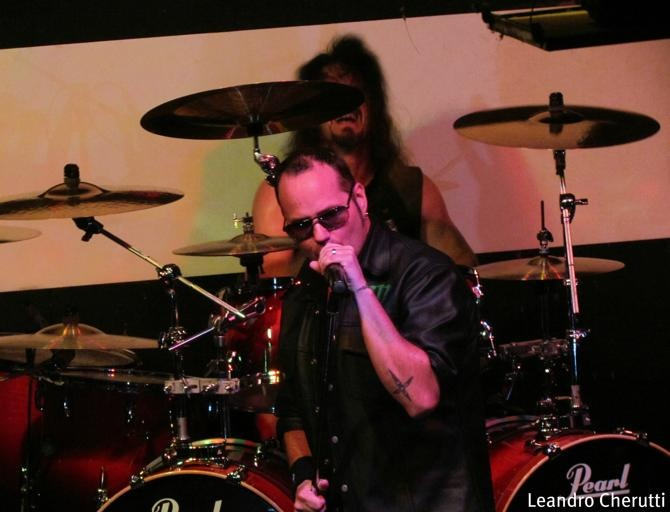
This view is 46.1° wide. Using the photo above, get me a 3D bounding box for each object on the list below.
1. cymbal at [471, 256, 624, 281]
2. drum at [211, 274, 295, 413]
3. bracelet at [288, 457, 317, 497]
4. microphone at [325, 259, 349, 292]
[{"bbox_3d":[1.204,0.067,4.474,0.366,0.070,0.355,-7,7,-29],"label":"cymbal"},{"bbox_3d":[-0.397,0.469,4.063,0.619,0.628,0.618,-2,-13,0],"label":"drum"},{"bbox_3d":[-0.142,0.921,3.338,0.158,0.170,0.177,-2,-30,-3],"label":"bracelet"},{"bbox_3d":[0.005,0.076,3.027,0.063,0.047,0.119,-38,34,14],"label":"microphone"}]
